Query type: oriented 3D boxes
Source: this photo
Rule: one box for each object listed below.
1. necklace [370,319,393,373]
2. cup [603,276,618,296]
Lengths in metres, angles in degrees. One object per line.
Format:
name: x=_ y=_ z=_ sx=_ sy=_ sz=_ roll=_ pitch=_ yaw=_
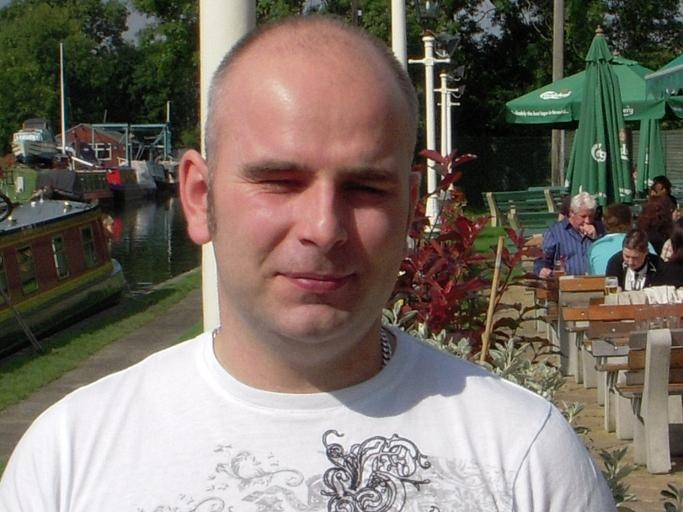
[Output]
necklace: x=0.127 y=0.261 z=2.631 sx=0.023 sy=0.096 sz=0.068 roll=-18 pitch=-3 yaw=20
cup: x=2.294 y=0.264 z=7.823 sx=0.110 sy=0.189 sz=0.187 roll=-1 pitch=1 yaw=4
